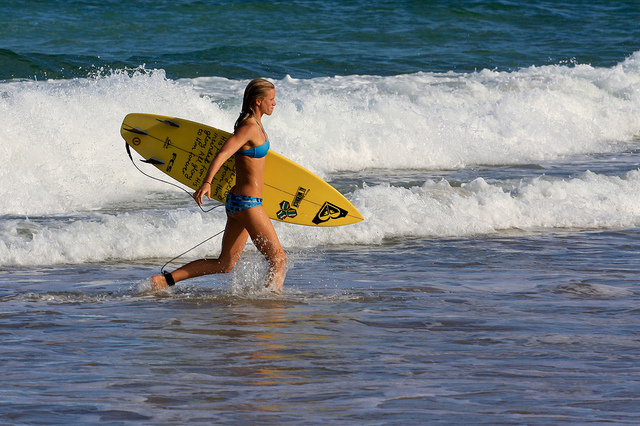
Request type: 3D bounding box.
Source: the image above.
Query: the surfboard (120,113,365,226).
[{"bbox_3d":[-1.167,-0.606,15.632,3.337,1.204,0.842,24,72,4],"label":"surfboard"}]

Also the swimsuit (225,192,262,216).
[{"bbox_3d":[-1.016,-0.137,14.971,0.440,0.288,0.178,-4,89,-16],"label":"swimsuit"}]
